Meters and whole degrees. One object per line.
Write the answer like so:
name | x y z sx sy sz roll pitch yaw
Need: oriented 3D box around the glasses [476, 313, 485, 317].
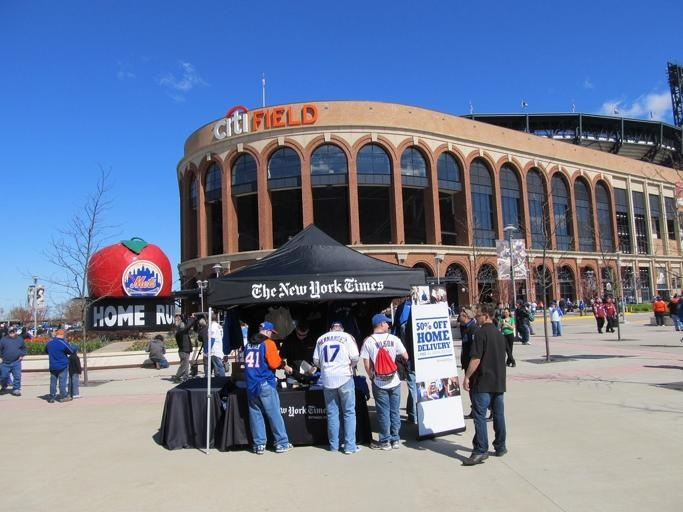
glasses | 2.746 1.172 11.172 0.071 0.072 0.086 8 -17 -43

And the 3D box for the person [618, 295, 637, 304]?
person | 30.454 4.509 59.606 1.175 0.987 4.352 -6 -7 29

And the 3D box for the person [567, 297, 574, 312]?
person | 22.729 4.778 56.043 0.776 1.292 1.823 -6 -7 26

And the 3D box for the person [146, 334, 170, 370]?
person | -7.691 4.015 23.663 0.975 1.442 0.874 -26 -30 36

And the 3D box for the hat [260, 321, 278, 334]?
hat | -1.530 1.502 12.024 0.330 0.306 0.544 3 -3 29

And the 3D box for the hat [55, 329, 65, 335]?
hat | -8.268 2.242 16.572 0.232 0.215 0.710 1 -8 -27

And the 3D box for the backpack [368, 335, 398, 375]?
backpack | 0.951 2.091 11.400 0.431 0.947 0.482 -16 -5 41

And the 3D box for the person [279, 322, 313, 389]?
person | -0.940 2.340 13.309 0.932 1.685 0.880 -3 4 -17

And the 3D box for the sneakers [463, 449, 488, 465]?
sneakers | 2.544 3.760 10.577 0.517 0.250 0.191 -5 -9 -21

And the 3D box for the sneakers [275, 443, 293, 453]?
sneakers | -1.181 3.881 11.544 0.140 0.169 0.336 0 0 37

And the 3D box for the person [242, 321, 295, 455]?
person | -1.542 2.680 11.570 0.868 2.619 0.610 -1 -6 -12

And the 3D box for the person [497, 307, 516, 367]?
person | 5.835 2.825 19.907 0.552 2.024 0.541 1 -5 -28

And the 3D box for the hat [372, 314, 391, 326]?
hat | 0.864 1.395 11.821 0.297 0.196 0.461 -2 3 41

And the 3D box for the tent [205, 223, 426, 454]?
tent | -0.581 2.018 14.044 4.963 2.638 5.295 0 -17 -11

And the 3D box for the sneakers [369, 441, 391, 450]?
sneakers | 0.787 3.840 11.502 0.426 0.224 0.176 2 -18 18

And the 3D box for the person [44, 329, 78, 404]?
person | -8.425 3.268 16.990 0.749 2.201 0.715 0 -1 -8

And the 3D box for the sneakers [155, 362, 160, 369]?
sneakers | -7.643 4.556 23.505 0.214 0.387 0.198 1 0 4

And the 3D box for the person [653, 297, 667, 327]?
person | 18.699 3.320 33.098 0.560 1.511 1.365 -6 -7 27

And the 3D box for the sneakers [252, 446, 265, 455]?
sneakers | -1.678 3.922 11.471 0.258 0.156 0.259 -2 -7 -8
